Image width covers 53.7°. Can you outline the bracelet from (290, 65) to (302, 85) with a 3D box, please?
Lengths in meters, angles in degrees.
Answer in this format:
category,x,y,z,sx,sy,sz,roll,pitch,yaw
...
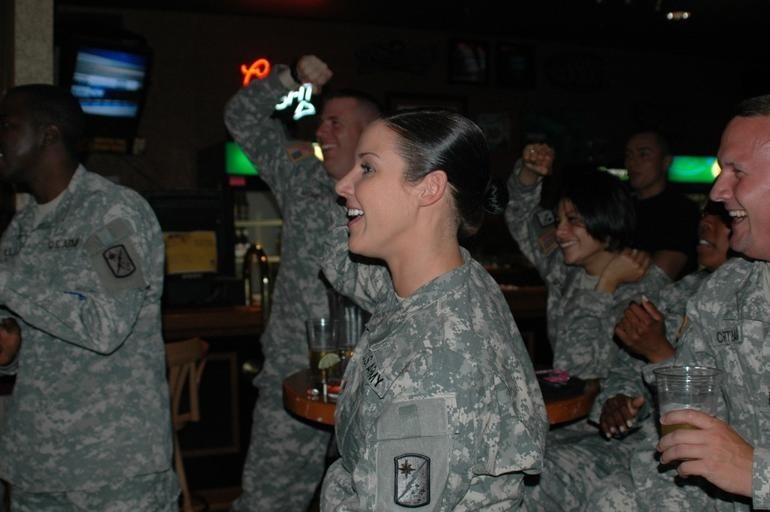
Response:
category,x,y,z,sx,sy,sz,roll,pitch,yaw
bracelet,-0.534,-1.075,4.509,0.043,0.092,0.075,-18,-3,-24

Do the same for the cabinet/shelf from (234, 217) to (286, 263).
category,x,y,z,sx,sy,sz,roll,pitch,yaw
cabinet/shelf,-1.259,-0.221,7.717,0.530,0.451,0.134,0,2,-9

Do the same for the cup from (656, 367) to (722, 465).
category,x,y,z,sx,sy,sz,roll,pitch,yaw
cup,1.276,0.606,3.227,0.274,0.282,0.223,5,-10,-45
